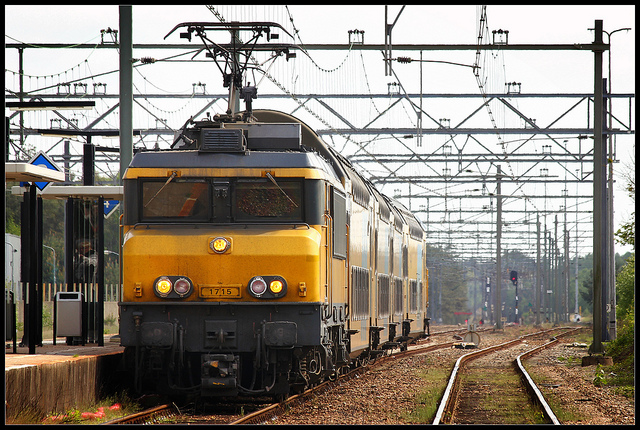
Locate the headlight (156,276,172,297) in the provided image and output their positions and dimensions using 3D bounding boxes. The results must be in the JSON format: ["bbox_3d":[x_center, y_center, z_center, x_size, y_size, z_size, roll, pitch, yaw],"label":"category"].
[{"bbox_3d":[-3.108,1.438,16.199,0.296,0.331,0.103,-3,-3,7],"label":"headlight"}]
